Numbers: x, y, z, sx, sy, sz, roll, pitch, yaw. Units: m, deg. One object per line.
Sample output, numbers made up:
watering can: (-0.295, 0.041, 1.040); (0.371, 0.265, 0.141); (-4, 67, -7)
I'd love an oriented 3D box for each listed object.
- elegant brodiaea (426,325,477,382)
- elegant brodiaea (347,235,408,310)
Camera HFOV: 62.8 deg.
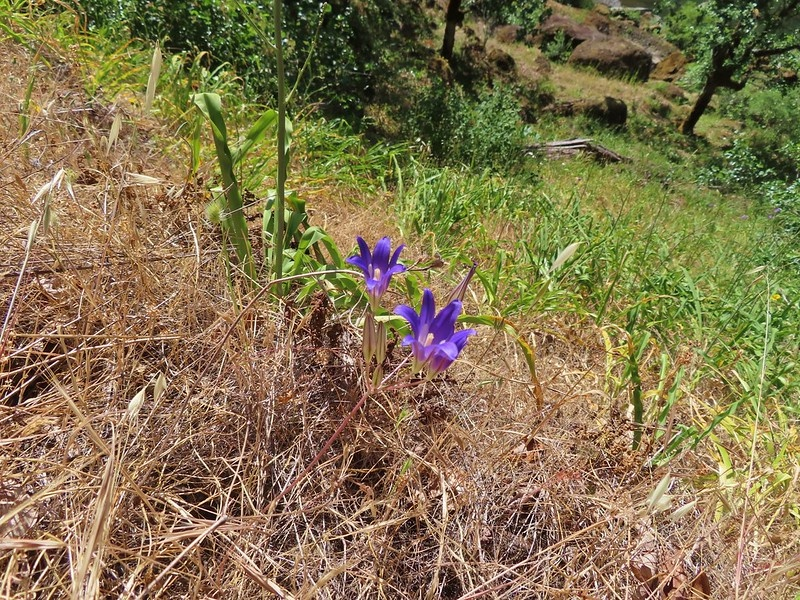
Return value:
elegant brodiaea: (0.208, 0.245, 2.964); (0.158, 0.267, 0.177); (24, 33, 15)
elegant brodiaea: (-0.109, -0.076, 3.208); (0.289, 0.306, 0.370); (-11, 68, 25)
